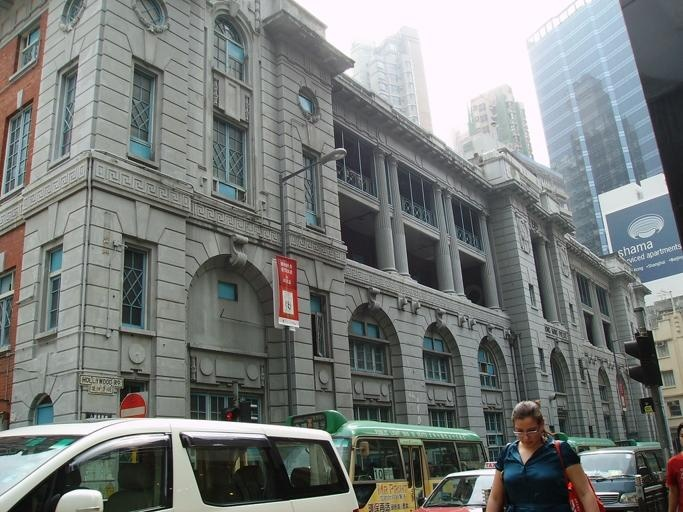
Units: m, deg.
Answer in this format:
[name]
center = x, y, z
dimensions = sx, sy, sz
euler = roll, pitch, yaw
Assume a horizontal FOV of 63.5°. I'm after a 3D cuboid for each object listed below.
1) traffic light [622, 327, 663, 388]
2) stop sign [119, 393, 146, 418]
[traffic light]
center = 5.961, 1.999, 10.986
dimensions = 0.571, 1.131, 0.802
euler = -16, -26, 27
[stop sign]
center = -4.747, 3.393, 12.664
dimensions = 0.339, 0.694, 1.118
euler = 10, -27, -29
